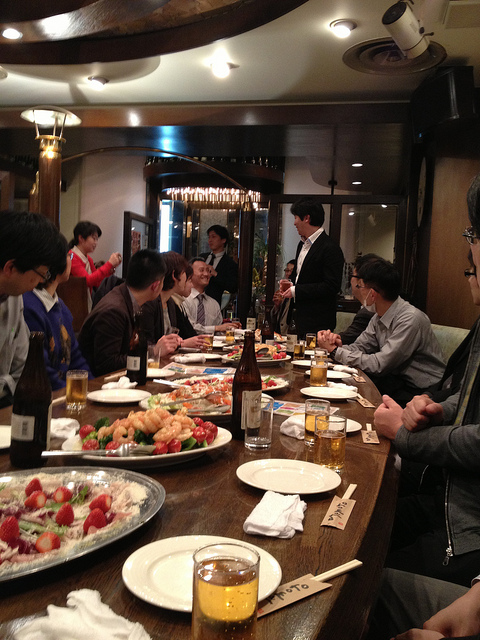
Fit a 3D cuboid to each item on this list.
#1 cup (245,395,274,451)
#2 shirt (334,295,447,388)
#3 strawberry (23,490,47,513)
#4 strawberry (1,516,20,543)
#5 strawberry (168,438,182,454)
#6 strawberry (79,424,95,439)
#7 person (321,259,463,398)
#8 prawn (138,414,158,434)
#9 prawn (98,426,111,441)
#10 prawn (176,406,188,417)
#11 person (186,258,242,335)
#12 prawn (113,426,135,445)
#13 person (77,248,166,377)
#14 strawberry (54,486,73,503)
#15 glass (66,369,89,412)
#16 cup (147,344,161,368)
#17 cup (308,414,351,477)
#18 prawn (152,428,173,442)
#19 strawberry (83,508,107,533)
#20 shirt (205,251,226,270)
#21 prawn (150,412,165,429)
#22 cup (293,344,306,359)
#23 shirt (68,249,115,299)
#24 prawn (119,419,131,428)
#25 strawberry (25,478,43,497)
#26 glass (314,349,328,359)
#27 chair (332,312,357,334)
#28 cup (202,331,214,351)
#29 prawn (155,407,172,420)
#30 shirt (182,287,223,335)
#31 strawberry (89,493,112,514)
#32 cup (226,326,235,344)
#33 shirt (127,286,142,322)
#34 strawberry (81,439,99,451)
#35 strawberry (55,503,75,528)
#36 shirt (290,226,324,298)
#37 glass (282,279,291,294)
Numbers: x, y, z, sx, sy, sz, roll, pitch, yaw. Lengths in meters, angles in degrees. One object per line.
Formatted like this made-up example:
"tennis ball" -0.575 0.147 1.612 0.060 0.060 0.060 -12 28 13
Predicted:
"cup" 0.048 0.266 1.191 0.079 0.149 0.087 0 -11 0
"shirt" 1.032 0.199 3.224 0.868 0.736 0.612 5 -2 10
"strawberry" -0.271 0.245 0.611 0.018 0.025 0.010 24 23 -46
"strawberry" -0.269 0.245 0.533 0.021 0.032 0.013 -5 8 -44
"strawberry" -0.133 0.254 0.920 0.021 0.031 0.023 0 2 5
"strawberry" -0.337 0.243 1.000 0.029 0.025 0.053 -3 8 -38
"person" 1.036 0.379 3.273 0.908 1.593 0.654 -2 4 9
"prawn" -0.189 0.215 0.940 0.036 0.011 0.036 42 19 -48
"prawn" -0.285 0.235 0.952 0.018 0.026 0.024 10 37 -5
"prawn" -0.141 0.221 1.097 0.016 0.015 0.042 -8 11 -2
"person" -0.394 -0.233 5.027 0.552 0.874 0.499 -3 -6 -19
"prawn" -0.242 0.236 0.931 0.029 0.011 0.031 11 20 18
"person" -0.777 -0.058 2.934 0.498 1.318 0.463 -3 37 -24
"strawberry" -0.254 0.249 0.651 0.022 0.019 0.029 1 6 -2
"glass" -0.527 0.214 1.468 0.066 0.128 0.201 -1 7 -20
"cup" -0.409 0.163 2.130 0.075 0.101 0.083 1 -11 -2
"cup" 0.201 0.281 1.028 0.101 0.182 0.102 2 -9 0
"prawn" -0.157 0.235 0.922 0.031 0.023 0.027 6 8 35
"strawberry" -0.192 0.262 0.603 0.023 0.036 0.021 -1 31 -24
"shirt" -0.401 -1.032 7.611 0.185 0.393 0.095 3 -21 29
"prawn" -0.173 0.208 0.945 0.027 0.008 0.028 49 1 13
"cup" 0.368 0.198 2.862 0.070 0.096 0.081 0 -7 3
"shirt" -1.783 -0.546 5.631 0.658 0.531 0.446 10 4 -5
"prawn" -0.246 0.216 0.962 0.015 0.009 0.022 5 -3 -5
"strawberry" -0.298 0.241 0.659 0.019 0.030 0.020 5 11 -23
"glass" 0.391 0.165 2.232 0.056 0.068 0.060 1 -5 6
"chair" 1.314 0.020 5.689 0.241 0.197 0.396 5 28 23
"cup" -0.228 0.146 3.166 0.079 0.149 0.088 1 -12 1
"prawn" -0.169 0.204 0.986 0.034 0.013 0.034 17 3 -18
"shirt" -0.412 0.008 5.001 0.448 0.682 0.355 2 -11 -31
"strawberry" -0.197 0.254 0.638 0.017 0.022 0.024 -7 7 -13
"cup" -0.065 0.111 3.320 0.079 0.161 0.090 0 -10 10
"shirt" -0.636 -0.099 2.737 0.100 0.162 0.074 -1 1 -2
"strawberry" -0.302 0.253 0.924 0.033 0.017 0.035 -4 9 -43
"strawberry" -0.229 0.254 0.592 0.023 0.030 0.011 -2 7 -28
"shirt" 0.753 -0.716 5.031 0.311 0.636 0.363 4 7 23
"glass" 0.504 -0.378 5.070 0.110 0.164 0.159 3 10 3
